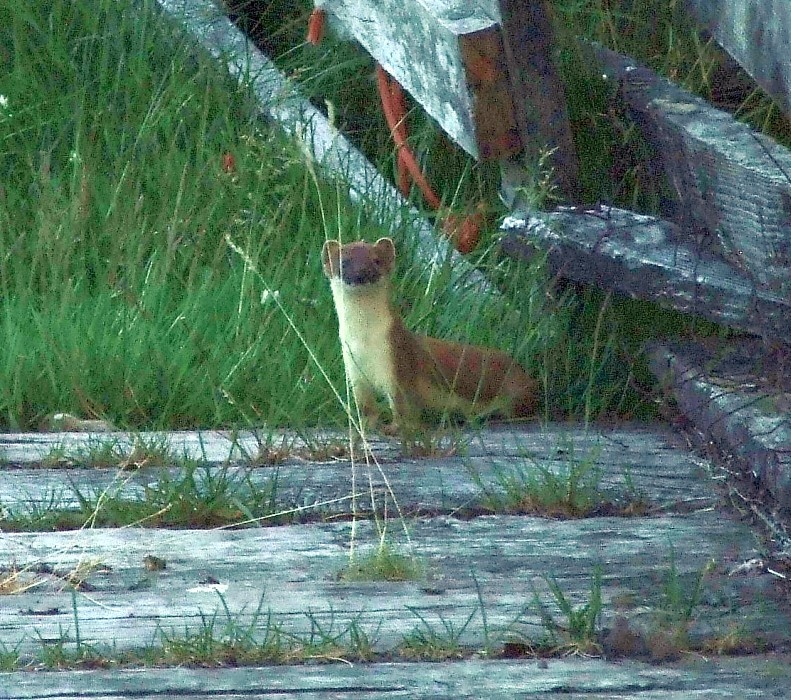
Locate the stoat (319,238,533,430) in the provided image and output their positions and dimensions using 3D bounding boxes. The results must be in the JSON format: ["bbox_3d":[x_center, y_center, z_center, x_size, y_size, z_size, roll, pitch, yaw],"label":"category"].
[{"bbox_3d":[0.128,0.019,6.504,0.989,0.735,0.298,14,-3,-41],"label":"stoat"}]
